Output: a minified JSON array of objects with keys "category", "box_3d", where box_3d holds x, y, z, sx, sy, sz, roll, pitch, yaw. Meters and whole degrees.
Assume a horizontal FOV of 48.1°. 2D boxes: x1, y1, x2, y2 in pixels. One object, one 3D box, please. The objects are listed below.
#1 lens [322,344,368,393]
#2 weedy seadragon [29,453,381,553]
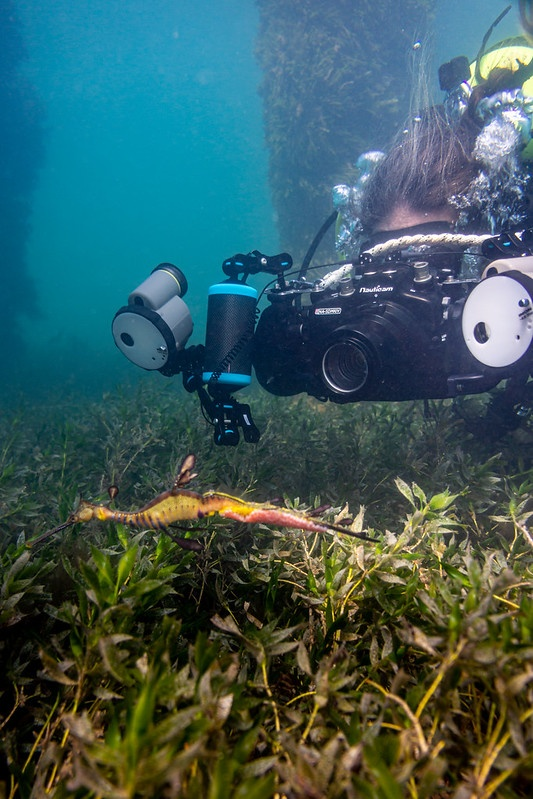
[{"category":"lens","box_3d":[0.385,-0.171,3.016,0.225,0.269,0.371,1,35,6]},{"category":"weedy seadragon","box_3d":[-0.146,0.227,1.240,0.702,0.181,0.181,1,0,6]}]
